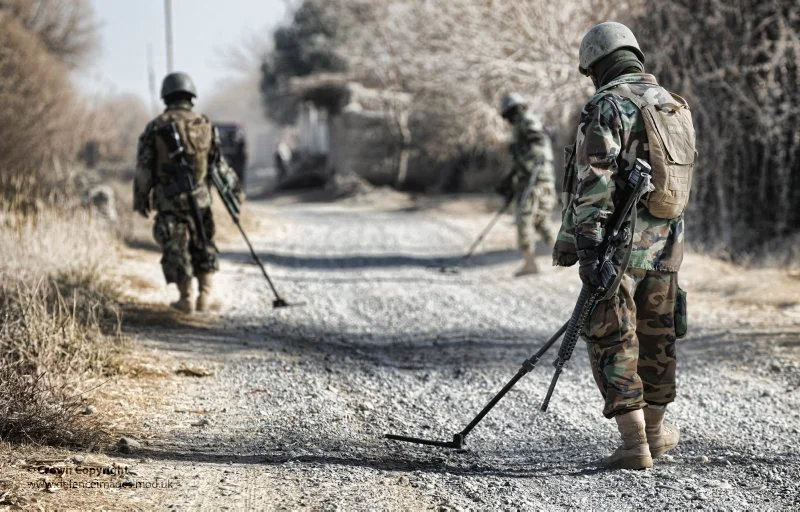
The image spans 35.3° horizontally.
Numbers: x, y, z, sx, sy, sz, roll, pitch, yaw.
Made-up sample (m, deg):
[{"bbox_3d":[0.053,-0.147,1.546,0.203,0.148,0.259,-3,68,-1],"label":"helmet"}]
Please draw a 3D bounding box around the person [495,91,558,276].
[{"bbox_3d":[1.934,-1.107,18.922,0.823,2.761,0.967,-2,-1,-4],"label":"person"}]

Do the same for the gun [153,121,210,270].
[{"bbox_3d":[-2.860,-0.858,16.845,0.494,1.719,0.844,2,-1,-9],"label":"gun"}]

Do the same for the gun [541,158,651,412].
[{"bbox_3d":[2.368,0.438,15.000,0.965,3.127,0.313,14,-7,41],"label":"gun"}]

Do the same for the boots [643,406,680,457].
[{"bbox_3d":[3.093,2.040,14.979,0.273,0.662,0.614,3,14,44],"label":"boots"}]
